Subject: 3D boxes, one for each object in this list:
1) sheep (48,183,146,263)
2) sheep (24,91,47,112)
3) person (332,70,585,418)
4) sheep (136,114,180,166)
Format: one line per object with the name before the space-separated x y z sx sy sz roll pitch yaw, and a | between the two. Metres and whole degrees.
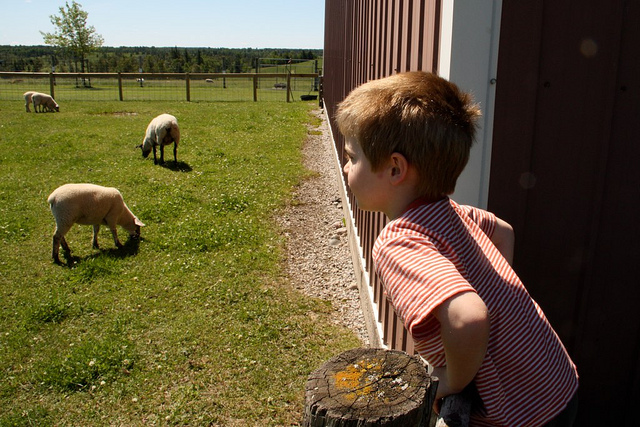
sheep | -3.295 0.055 8.221 0.514 1.142 1.424 18 17 39
sheep | -10.755 -4.195 20.573 0.559 0.696 1.879 -11 22 -27
person | 0.734 0.166 2.988 1.152 1.727 0.832 -3 17 -2
sheep | -3.668 -1.596 12.490 0.504 1.053 1.590 -9 0 -42
